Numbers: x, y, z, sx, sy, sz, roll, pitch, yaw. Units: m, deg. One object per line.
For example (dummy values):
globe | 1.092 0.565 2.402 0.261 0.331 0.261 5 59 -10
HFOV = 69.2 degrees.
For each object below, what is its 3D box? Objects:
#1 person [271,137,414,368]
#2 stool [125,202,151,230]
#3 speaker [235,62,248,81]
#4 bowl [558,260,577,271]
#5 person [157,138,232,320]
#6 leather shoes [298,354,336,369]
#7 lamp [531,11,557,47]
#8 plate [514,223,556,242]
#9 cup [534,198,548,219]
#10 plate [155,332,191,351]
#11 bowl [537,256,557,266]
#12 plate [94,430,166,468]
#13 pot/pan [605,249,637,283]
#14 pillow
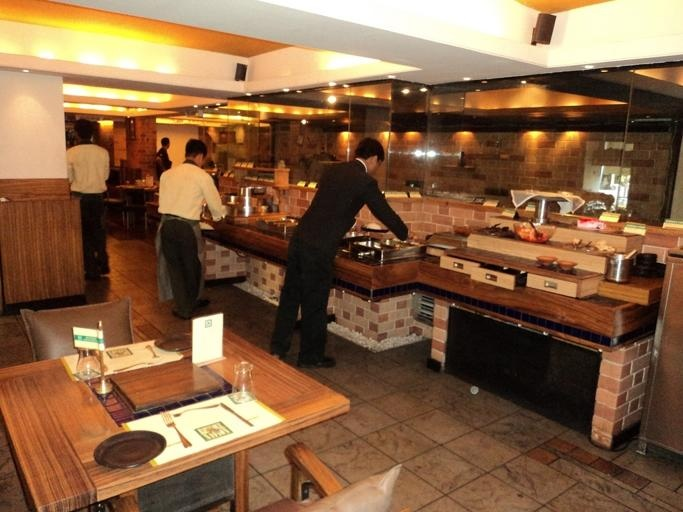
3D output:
person | -0.104 -0.009 4.572 1.238 2.073 0.557 -4 20 -9
stool | -4.616 -0.910 11.166 0.597 0.582 0.703 -5 14 -27
speaker | -1.308 -2.394 6.454 0.182 0.220 0.092 -6 20 -16
bowl | 1.708 0.067 3.766 0.130 0.080 0.128 -1 16 0
person | -1.702 -0.282 5.510 0.452 1.961 0.666 12 23 33
leather shoes | -0.232 0.976 4.691 0.378 0.123 0.123 -4 15 -16
lamp | 1.582 -1.778 3.884 0.205 0.233 0.102 -1 19 2
plate | 1.560 -0.189 4.048 0.215 0.077 0.200 -2 8 -37
cup | 1.671 -0.395 4.159 0.097 0.198 0.085 8 21 24
plate | -0.960 0.495 2.842 0.134 0.024 0.123 -3 9 -34
bowl | 1.593 0.034 3.871 0.159 0.083 0.123 6 18 24
plate | -0.876 0.798 2.047 0.256 0.038 0.223 5 16 19
pot/pan | 2.023 0.090 3.621 0.272 0.199 0.187 -1 6 -14
pillow | -1.764 0.484 3.267 0.750 0.471 0.231 -12 -18 -21
